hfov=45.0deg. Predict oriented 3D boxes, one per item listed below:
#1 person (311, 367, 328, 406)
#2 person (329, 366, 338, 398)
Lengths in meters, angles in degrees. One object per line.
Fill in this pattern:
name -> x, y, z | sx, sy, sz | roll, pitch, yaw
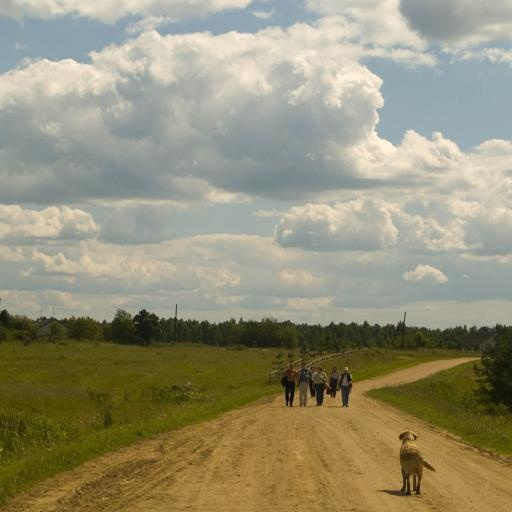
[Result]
person -> 3.297, 6.747, 32.101 | 0.645, 1.842, 2.150 | 1, -4, 5
person -> 4.382, 7.149, 34.974 | 0.527, 1.822, 1.706 | 1, -4, 7
